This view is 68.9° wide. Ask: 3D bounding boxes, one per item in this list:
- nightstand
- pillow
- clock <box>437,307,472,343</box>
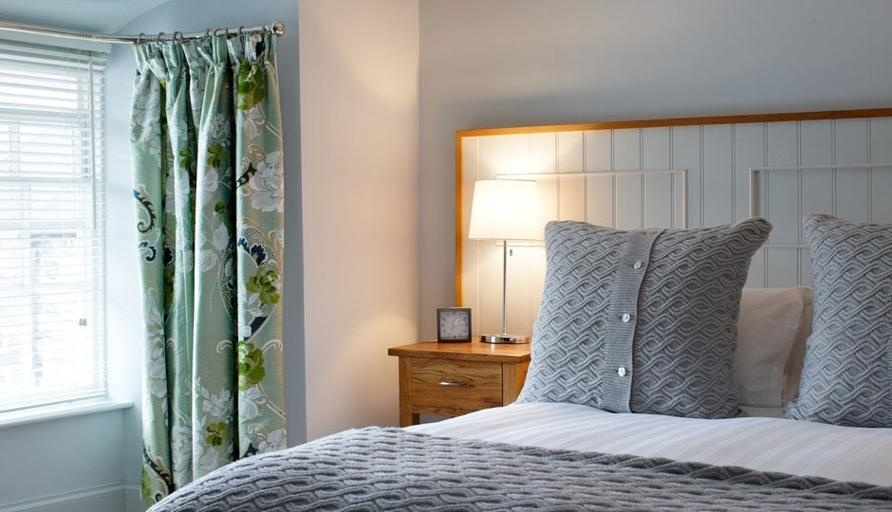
[{"bbox_3d":[0.111,0.921,4.052,0.785,0.687,0.601,0,-2,18],"label":"nightstand"},{"bbox_3d":[1.195,0.302,2.909,1.126,0.601,0.264,2,-10,14],"label":"pillow"},{"bbox_3d":[0.055,0.440,4.075,0.233,0.213,0.039,1,-2,2],"label":"clock"}]
